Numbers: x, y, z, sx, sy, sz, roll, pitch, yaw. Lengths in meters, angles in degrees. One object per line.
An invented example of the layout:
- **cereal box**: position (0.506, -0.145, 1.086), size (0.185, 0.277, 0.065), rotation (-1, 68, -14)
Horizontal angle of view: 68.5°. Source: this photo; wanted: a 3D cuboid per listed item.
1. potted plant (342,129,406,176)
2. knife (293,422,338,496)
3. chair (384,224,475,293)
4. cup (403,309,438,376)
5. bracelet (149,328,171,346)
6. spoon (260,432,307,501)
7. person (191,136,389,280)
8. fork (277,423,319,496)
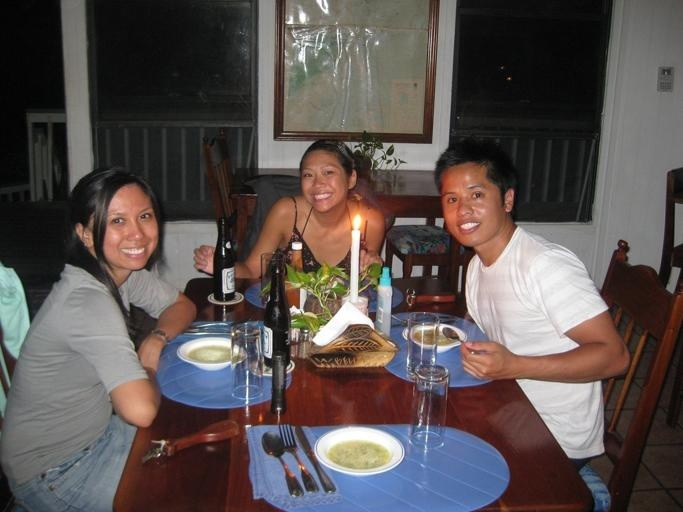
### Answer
- **potted plant**: position (0.264, -0.757, 3.979), size (0.502, 0.213, 0.516), rotation (19, 8, -22)
- **knife**: position (-0.061, 0.462, 1.128), size (0.037, 0.016, 0.276), rotation (5, 18, -21)
- **chair**: position (0.636, -0.019, 3.834), size (0.493, 0.716, 0.659), rotation (2, 26, -1)
- **cup**: position (0.245, 0.275, 1.547), size (0.116, 0.213, 0.111), rotation (0, 15, 0)
- **bracelet**: position (-0.582, 0.256, 1.615), size (0.045, 0.045, 0.049), rotation (35, 30, -10)
- **spoon**: position (-0.142, 0.449, 1.144), size (0.042, 0.025, 0.225), rotation (-5, 24, -16)
- **person**: position (-0.278, -0.312, 2.874), size (0.853, 1.169, 0.645), rotation (3, 31, -1)
- **fork**: position (-0.105, 0.439, 1.188), size (0.039, 0.034, 0.277), rotation (-5, 24, -11)
